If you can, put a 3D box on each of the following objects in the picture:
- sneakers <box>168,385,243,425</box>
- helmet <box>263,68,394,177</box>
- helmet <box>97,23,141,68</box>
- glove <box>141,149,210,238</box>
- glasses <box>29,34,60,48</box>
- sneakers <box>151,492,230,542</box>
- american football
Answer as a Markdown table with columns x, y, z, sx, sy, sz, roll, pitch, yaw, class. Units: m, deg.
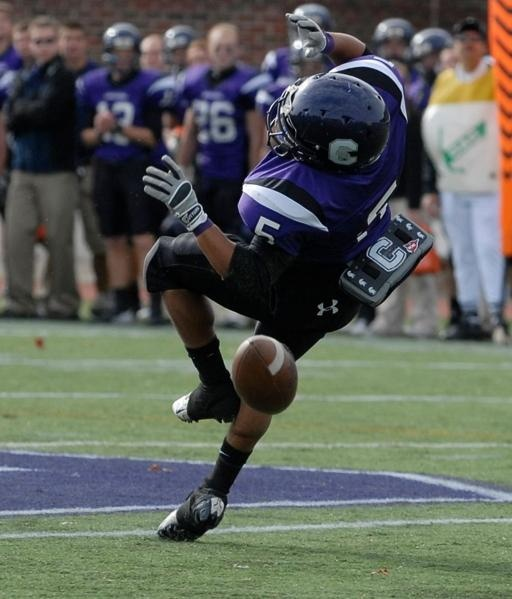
| x | y | z | sx | sy | sz | roll | pitch | yaw | class |
| --- | --- | --- | --- | --- | --- | --- | --- | --- | --- |
| -0.138 | 0.283 | 2.719 | 0.105 | 0.119 | 0.293 | -3 | -6 | -45 | sneakers |
| 0.155 | -0.456 | 2.422 | 0.351 | 0.258 | 0.243 | 8 | 7 | 18 | helmet |
| -0.448 | -0.861 | 3.197 | 0.133 | 0.106 | 0.144 | 0 | -1 | -14 | helmet |
| -0.207 | -0.255 | 2.291 | 0.214 | 0.182 | 0.101 | 11 | 8 | 40 | glove |
| -0.662 | -0.816 | 2.984 | 0.066 | 0.020 | 0.066 | -3 | 6 | -25 | glasses |
| -0.158 | 0.564 | 2.484 | 0.098 | 0.102 | 0.254 | 32 | -38 | -17 | sneakers |
| 0.024 | 0.226 | 2.439 | 0.148 | 0.160 | 0.108 | -12 | 26 | 10 | american football |
